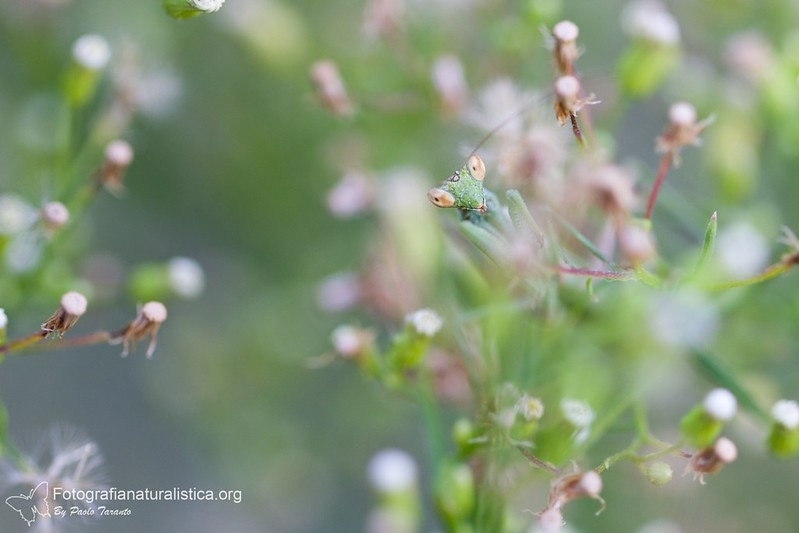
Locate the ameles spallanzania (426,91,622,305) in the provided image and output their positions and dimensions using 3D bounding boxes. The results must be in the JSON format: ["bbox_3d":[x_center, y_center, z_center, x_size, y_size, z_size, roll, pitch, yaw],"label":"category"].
[{"bbox_3d":[0.122,-0.040,0.999,0.212,0.161,0.222,50,24,23],"label":"ameles spallanzania"}]
